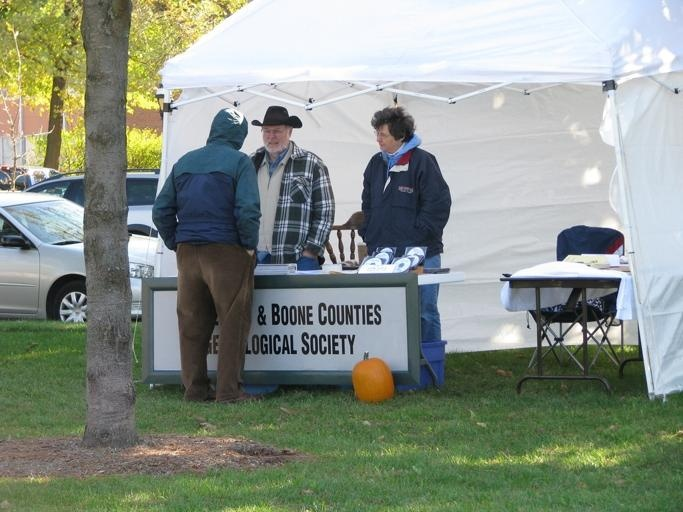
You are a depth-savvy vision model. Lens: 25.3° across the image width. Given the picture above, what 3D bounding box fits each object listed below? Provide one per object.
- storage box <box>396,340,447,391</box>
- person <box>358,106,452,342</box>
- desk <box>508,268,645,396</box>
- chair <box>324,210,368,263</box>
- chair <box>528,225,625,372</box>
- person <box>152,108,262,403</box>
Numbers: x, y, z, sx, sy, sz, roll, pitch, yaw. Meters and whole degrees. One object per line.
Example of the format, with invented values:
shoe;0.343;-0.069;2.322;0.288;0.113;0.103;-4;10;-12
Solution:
storage box;0.779;1.131;15.223;0.472;0.425;0.582;-15;-8;33
person;0.595;-0.208;15.494;0.952;2.464;0.693;-1;-1;37
desk;2.141;0.716;14.996;1.122;1.186;0.849;2;8;6
chair;0.022;-0.245;18.164;0.429;0.631;0.445;5;9;29
chair;2.527;0.438;16.210;0.855;1.420;0.973;11;18;27
person;-1.203;-0.071;14.593;1.038;2.798;1.004;-1;15;-26
